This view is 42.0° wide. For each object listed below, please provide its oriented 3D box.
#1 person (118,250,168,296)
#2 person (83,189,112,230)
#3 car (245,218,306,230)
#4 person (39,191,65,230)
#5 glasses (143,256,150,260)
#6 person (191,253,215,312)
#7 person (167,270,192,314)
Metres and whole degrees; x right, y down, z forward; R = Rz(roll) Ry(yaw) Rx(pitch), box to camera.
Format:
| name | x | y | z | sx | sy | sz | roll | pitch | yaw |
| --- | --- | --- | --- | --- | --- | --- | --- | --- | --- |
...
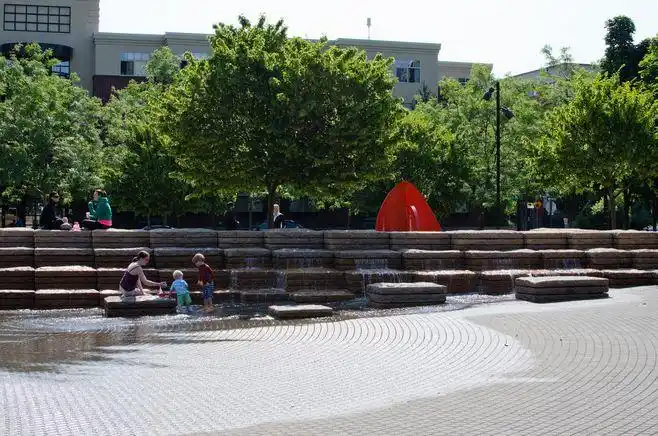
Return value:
| name | x | y | z | sx | sy | sz | roll | pitch | yaw |
| --- | --- | --- | --- | --- | --- | --- | --- | --- | --- |
| person | -5.505 | 1.706 | 25.533 | 1.426 | 1.326 | 0.716 | 9 | 8 | -5 |
| person | -8.191 | -0.308 | 30.151 | 0.893 | 1.390 | 3.394 | 0 | 1 | -16 |
| car | -2.740 | 0.205 | 43.655 | 2.905 | 0.964 | 1.290 | 3 | -4 | -5 |
| person | -9.644 | -0.279 | 29.752 | 0.795 | 1.313 | 2.986 | 0 | 1 | -18 |
| glasses | -5.456 | 1.206 | 25.411 | 0.209 | 0.151 | 0.188 | 0 | 0 | 11 |
| person | -3.697 | 1.931 | 25.701 | 0.642 | 1.701 | 0.729 | 1 | 1 | 11 |
| person | -4.462 | 2.178 | 25.685 | 0.614 | 1.236 | 1.115 | 0 | 1 | -10 |
